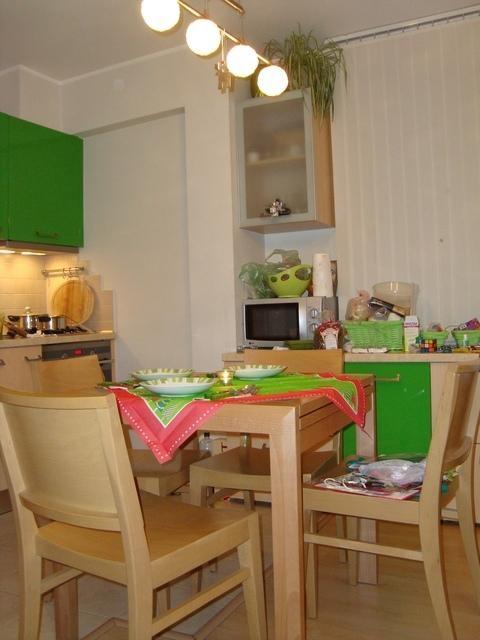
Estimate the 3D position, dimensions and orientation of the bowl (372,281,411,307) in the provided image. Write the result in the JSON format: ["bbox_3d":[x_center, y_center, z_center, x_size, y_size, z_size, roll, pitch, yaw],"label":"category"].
[{"bbox_3d":[0.772,-0.131,2.802,0.160,0.077,0.124,6,9,29],"label":"bowl"}]

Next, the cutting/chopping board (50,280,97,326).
[{"bbox_3d":[-1.129,-0.118,3.776,0.329,0.316,0.070,4,-4,34],"label":"cutting/chopping board"}]

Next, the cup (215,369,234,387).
[{"bbox_3d":[-0.042,0.168,1.579,0.042,0.030,0.039,-1,0,0],"label":"cup"}]

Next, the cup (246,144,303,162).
[{"bbox_3d":[0.196,-0.918,3.065,0.331,0.074,0.041,1,7,28],"label":"cup"}]
